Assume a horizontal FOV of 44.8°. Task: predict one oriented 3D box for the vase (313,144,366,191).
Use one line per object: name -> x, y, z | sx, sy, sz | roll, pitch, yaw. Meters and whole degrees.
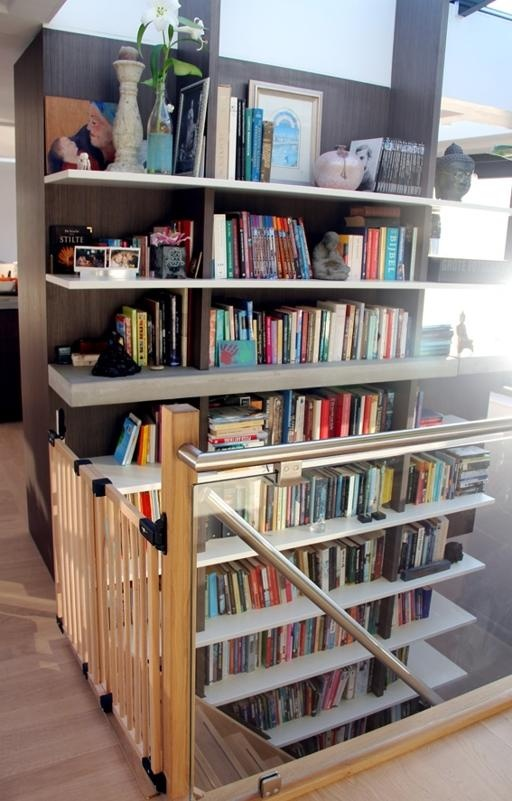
vase -> 0.305, -0.849, 2.298 | 0.182, 0.179, 0.187 | 14, 22, 34
